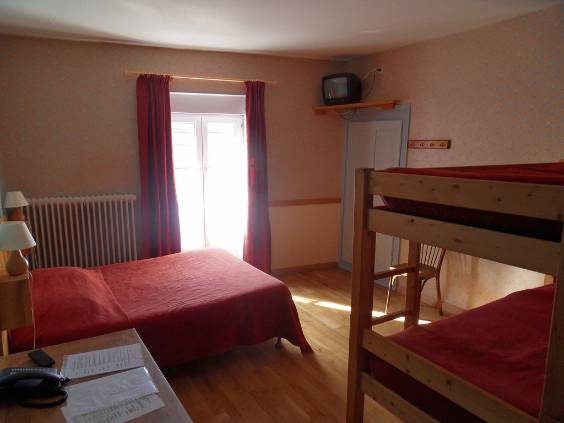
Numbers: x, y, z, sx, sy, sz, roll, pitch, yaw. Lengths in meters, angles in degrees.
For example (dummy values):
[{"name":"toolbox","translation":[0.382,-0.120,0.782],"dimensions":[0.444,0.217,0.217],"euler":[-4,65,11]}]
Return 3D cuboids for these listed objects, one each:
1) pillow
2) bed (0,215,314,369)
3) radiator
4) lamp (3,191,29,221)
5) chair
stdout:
[{"name":"pillow","translation":[-1.667,0.788,3.514],"dimensions":[0.641,0.187,0.656],"euler":[0,15,-36]},{"name":"bed","translation":[-0.984,0.826,3.932],"dimensions":[2.004,0.725,1.493],"euler":[-5,17,-30]},{"name":"radiator","translation":[-2.122,0.284,5.141],"dimensions":[0.107,0.923,0.979],"euler":[-13,-5,43]},{"name":"lamp","translation":[-2.765,-0.045,4.541],"dimensions":[0.205,0.347,0.206],"euler":[-11,18,-40]},{"name":"chair","translation":[1.568,0.691,4.953],"dimensions":[0.550,1.075,0.481],"euler":[-5,12,-25]}]
